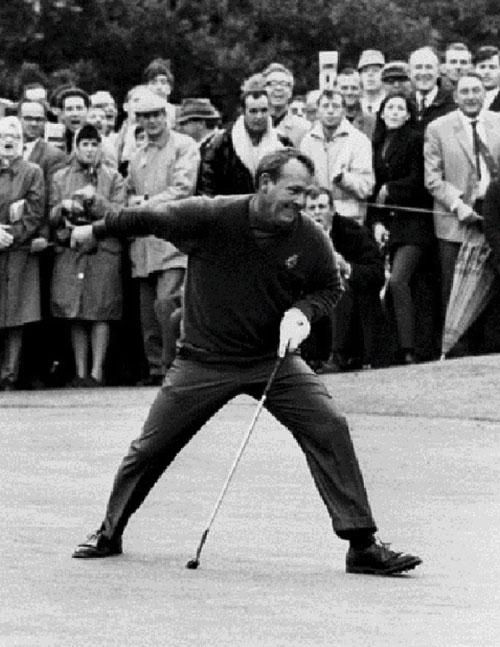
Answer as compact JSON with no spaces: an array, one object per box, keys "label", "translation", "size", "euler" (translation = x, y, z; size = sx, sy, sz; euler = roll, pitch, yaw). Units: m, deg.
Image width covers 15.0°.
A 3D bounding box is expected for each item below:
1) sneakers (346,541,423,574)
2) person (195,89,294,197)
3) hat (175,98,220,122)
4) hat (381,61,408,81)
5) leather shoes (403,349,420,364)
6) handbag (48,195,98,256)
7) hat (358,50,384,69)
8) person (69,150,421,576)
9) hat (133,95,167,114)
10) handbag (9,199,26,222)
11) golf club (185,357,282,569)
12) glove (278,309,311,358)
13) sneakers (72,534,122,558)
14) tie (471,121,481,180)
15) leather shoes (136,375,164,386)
[{"label":"sneakers","translation":[0.482,0.878,6.925],"size":[0.176,0.080,0.144],"euler":[0,-8,14]},{"label":"person","translation":[0.027,-1.087,12.273],"size":[0.702,1.033,0.277],"euler":[-5,32,-9]},{"label":"hat","translation":[-0.375,-1.609,14.298],"size":[0.223,0.122,0.264],"euler":[-3,-2,-6]},{"label":"hat","translation":[1.088,-1.862,14.118],"size":[0.179,0.122,0.315],"euler":[-1,3,3]},{"label":"leather shoes","translation":[1.103,0.244,12.928],"size":[0.076,0.157,0.098],"euler":[2,-9,-18]},{"label":"handbag","translation":[-1.056,-0.647,11.985],"size":[0.339,0.152,0.325],"euler":[29,29,21]},{"label":"hat","translation":[0.957,-2.058,14.670],"size":[0.153,0.145,0.273],"euler":[0,-7,-2]},{"label":"person","translation":[0.001,0.139,7.020],"size":[1.207,1.553,0.546],"euler":[2,3,5]},{"label":"hat","translation":[-0.638,-1.447,12.590],"size":[0.198,0.143,0.266],"euler":[2,3,-5]},{"label":"handbag","translation":[-1.576,-0.780,13.202],"size":[0.088,0.136,0.087],"euler":[16,28,26]},{"label":"golf club","translation":[-0.059,0.622,8.026],"size":[0.053,0.777,0.107],"euler":[20,-2,3]},{"label":"glove","translation":[0.168,0.038,6.875],"size":[0.101,0.171,0.066],"euler":[27,-3,17]},{"label":"sneakers","translation":[-0.555,0.851,7.147],"size":[0.071,0.089,0.208],"euler":[-8,-13,31]},{"label":"tie","translation":[1.537,-1.165,12.856],"size":[0.059,0.399,0.085],"euler":[1,3,-8]},{"label":"leather shoes","translation":[-0.665,0.399,13.293],"size":[0.237,0.106,0.075],"euler":[6,4,38]}]
